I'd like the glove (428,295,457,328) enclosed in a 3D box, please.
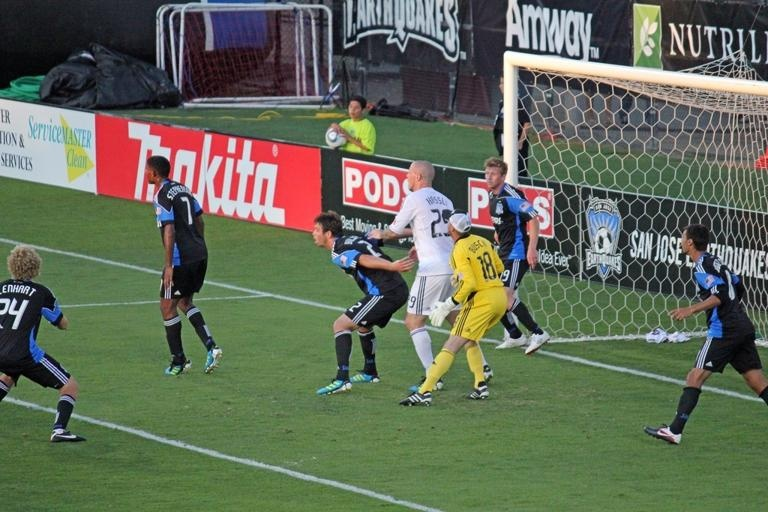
[{"bbox_3d":[0.776,0.706,18.581,0.349,0.407,0.149,32,-24,7],"label":"glove"}]

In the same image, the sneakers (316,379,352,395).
[{"bbox_3d":[-0.640,1.720,19.005,0.542,0.191,0.176,-7,12,-6],"label":"sneakers"}]

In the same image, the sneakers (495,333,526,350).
[{"bbox_3d":[1.796,1.236,20.591,0.555,0.183,0.171,-5,4,-8],"label":"sneakers"}]

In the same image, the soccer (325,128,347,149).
[{"bbox_3d":[-0.845,-2.121,25.522,0.275,0.296,0.258,-25,30,26],"label":"soccer"}]

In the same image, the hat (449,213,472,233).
[{"bbox_3d":[0.978,-0.448,18.456,0.297,0.256,0.239,7,9,21],"label":"hat"}]

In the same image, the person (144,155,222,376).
[{"bbox_3d":[-2.766,0.123,19.635,1.314,2.947,0.774,6,9,13],"label":"person"}]

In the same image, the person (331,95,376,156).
[{"bbox_3d":[-0.479,-2.351,25.414,0.751,0.997,0.604,9,9,29],"label":"person"}]

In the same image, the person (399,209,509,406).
[{"bbox_3d":[1.035,0.696,18.598,1.182,2.540,0.596,-1,10,-33],"label":"person"}]

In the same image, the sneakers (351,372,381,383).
[{"bbox_3d":[-0.250,1.654,19.395,0.431,0.142,0.142,3,-1,-1],"label":"sneakers"}]

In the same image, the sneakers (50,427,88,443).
[{"bbox_3d":[-3.920,2.215,17.614,0.520,0.183,0.161,2,6,-11],"label":"sneakers"}]
